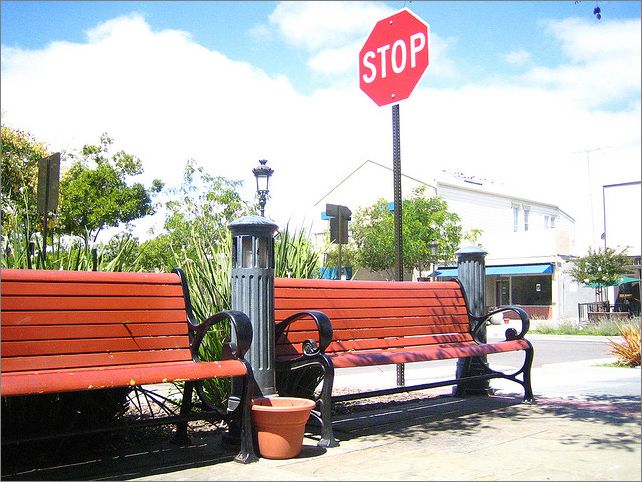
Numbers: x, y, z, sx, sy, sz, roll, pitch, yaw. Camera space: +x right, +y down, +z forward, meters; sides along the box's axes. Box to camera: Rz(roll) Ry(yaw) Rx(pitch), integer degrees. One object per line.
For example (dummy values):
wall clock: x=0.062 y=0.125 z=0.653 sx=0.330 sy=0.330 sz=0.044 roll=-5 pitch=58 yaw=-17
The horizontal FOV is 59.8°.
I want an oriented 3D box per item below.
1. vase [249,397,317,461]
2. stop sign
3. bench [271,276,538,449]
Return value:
vase: x=-0.326 y=1.465 z=4.376 sx=0.426 sy=0.333 sz=0.433 roll=1 pitch=-15 yaw=-1
stop sign: x=0.885 y=-2.323 z=7.089 sx=1.095 sy=1.146 sz=0.101 roll=-3 pitch=-3 yaw=41
bench: x=0.838 y=1.076 z=5.762 sx=3.048 sy=1.404 sz=0.925 roll=2 pitch=-4 yaw=-43
